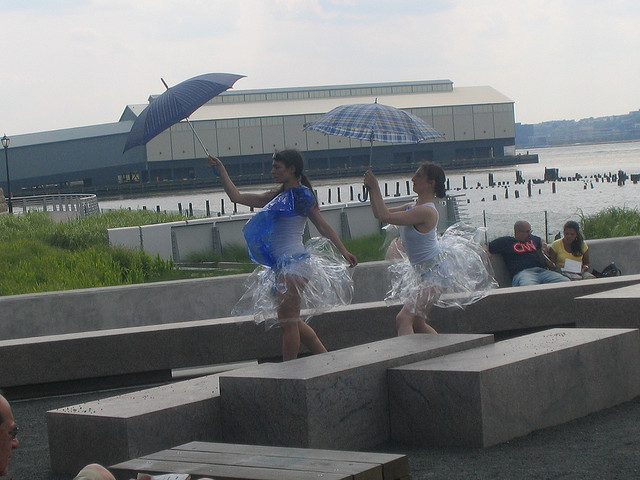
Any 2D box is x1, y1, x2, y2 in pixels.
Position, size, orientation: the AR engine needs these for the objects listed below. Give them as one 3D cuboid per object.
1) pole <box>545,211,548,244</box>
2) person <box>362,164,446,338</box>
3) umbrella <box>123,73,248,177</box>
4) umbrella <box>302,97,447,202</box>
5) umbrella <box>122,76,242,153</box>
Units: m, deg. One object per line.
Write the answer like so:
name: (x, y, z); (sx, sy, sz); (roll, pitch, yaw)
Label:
pole: (4.122, -0.266, 15.852); (0.038, 0.494, 0.618); (-2, 7, 15)
person: (0.844, 0.113, 8.099); (0.678, 1.592, 0.944); (-3, 6, 9)
umbrella: (-1.341, -1.274, 8.441); (1.109, 0.649, 0.624); (-6, 6, -14)
umbrella: (0.530, -0.955, 9.406); (1.211, 0.995, 1.189); (12, 14, 33)
umbrella: (-1.337, -1.257, 8.382); (1.056, 0.618, 0.640); (-6, 6, -14)
